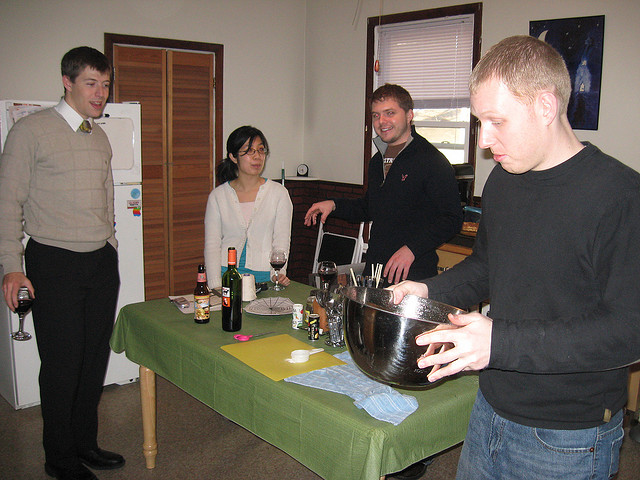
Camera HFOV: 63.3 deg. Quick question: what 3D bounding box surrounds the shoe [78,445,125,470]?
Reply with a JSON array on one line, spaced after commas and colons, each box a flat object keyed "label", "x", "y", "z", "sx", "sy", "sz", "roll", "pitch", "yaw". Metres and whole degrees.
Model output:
[{"label": "shoe", "x": -1.158, "y": 1.128, "z": 2.718, "sx": 0.254, "sy": 0.103, "sz": 0.095, "roll": 7, "pitch": 11, "yaw": 18}]

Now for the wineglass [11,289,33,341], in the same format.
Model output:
[{"label": "wineglass", "x": -1.337, "y": 0.342, "z": 2.345, "sx": 0.092, "sy": 0.272, "sz": 0.238, "roll": -6, "pitch": 11, "yaw": -31}]

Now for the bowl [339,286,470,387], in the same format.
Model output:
[{"label": "bowl", "x": 0.245, "y": 0.249, "z": 1.378, "sx": 0.323, "sy": 0.187, "sz": 0.316, "roll": 5, "pitch": -2, "yaw": 0}]

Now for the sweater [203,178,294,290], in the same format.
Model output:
[{"label": "sweater", "x": -0.428, "y": -0.028, "z": 3.124, "sx": 0.502, "sy": 0.656, "sz": 0.354, "roll": 0, "pitch": 10, "yaw": -3}]

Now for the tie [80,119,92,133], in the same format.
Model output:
[{"label": "tie", "x": -1.154, "y": -0.563, "z": 2.571, "sx": 0.044, "sy": 0.062, "sz": 0.015, "roll": -7, "pitch": -3, "yaw": -15}]

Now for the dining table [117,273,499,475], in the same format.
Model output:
[{"label": "dining table", "x": -0.062, "y": 0.505, "z": 1.916, "sx": 0.698, "sy": 0.495, "sz": 0.981, "roll": -8, "pitch": 14, "yaw": -41}]

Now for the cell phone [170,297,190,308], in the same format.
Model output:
[{"label": "cell phone", "x": -0.654, "y": 0.293, "z": 2.457, "sx": 0.041, "sy": 0.017, "sz": 0.071, "roll": -8, "pitch": 15, "yaw": -29}]

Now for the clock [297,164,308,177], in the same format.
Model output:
[{"label": "clock", "x": -0.182, "y": -0.728, "z": 5.437, "sx": 0.134, "sy": 0.158, "sz": 0.080, "roll": 1, "pitch": -1, "yaw": 9}]

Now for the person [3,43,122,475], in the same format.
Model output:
[{"label": "person", "x": -1.227, "y": 0.126, "z": 2.535, "sx": 0.531, "sy": 2.127, "sz": 0.383, "roll": -5, "pitch": 10, "yaw": -28}]

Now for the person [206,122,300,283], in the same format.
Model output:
[{"label": "person", "x": -0.360, "y": -0.174, "z": 2.759, "sx": 0.510, "sy": 0.904, "sz": 1.190, "roll": -2, "pitch": 9, "yaw": -10}]
